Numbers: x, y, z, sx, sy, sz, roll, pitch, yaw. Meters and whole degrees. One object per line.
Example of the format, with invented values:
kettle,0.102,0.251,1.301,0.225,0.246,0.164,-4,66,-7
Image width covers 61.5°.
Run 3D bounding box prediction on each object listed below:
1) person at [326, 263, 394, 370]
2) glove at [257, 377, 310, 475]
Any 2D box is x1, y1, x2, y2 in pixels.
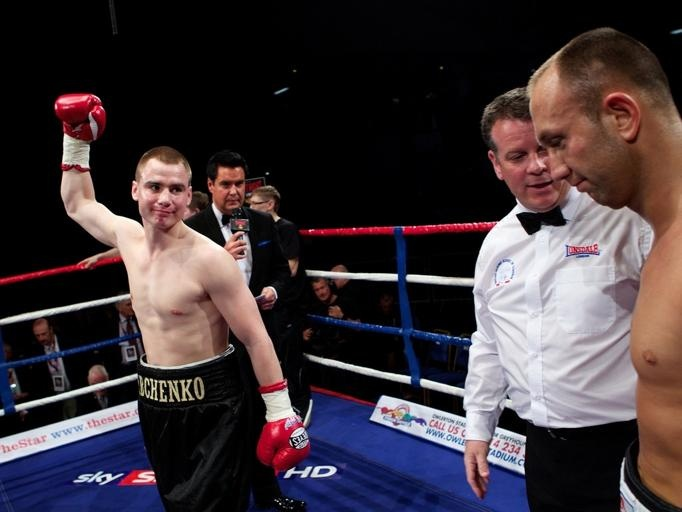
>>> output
person,0.277,0.628,5.569,0.819,0.909,0.730,-5,-5,33
glove,-0.287,0.762,2.596,0.277,0.382,0.153,-16,-6,-12
